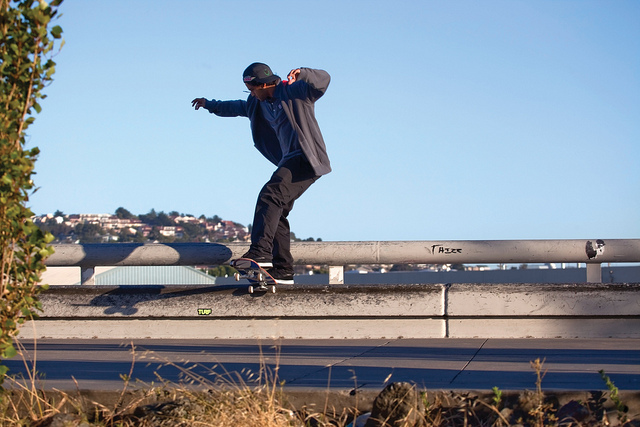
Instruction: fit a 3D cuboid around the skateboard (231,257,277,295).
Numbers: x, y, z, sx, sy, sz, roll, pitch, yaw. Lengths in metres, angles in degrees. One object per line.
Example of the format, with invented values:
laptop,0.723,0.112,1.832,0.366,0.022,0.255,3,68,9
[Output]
skateboard,-0.599,0.557,10.749,0.412,0.314,0.336,1,-17,-4
